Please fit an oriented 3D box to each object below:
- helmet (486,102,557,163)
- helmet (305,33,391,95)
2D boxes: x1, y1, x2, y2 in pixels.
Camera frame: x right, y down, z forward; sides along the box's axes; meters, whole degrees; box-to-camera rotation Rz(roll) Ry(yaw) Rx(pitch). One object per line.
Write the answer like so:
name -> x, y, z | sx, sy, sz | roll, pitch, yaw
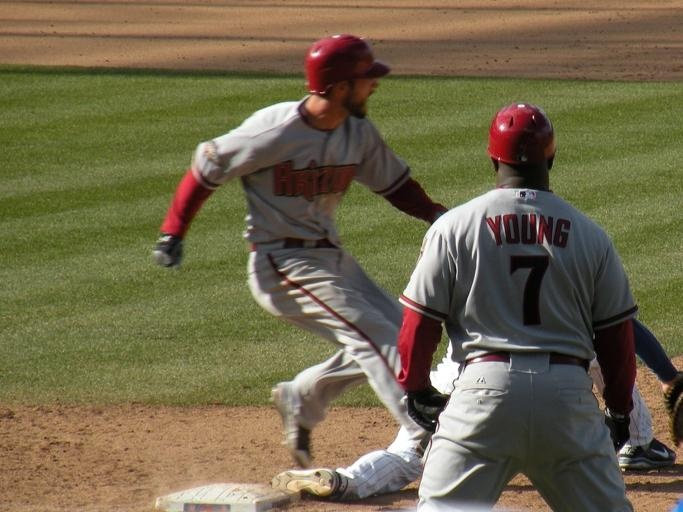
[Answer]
helmet -> 1.363, -0.944, 10.364 | 0.576, 0.459, 0.414 | 7, 26, 14
helmet -> 0.036, -1.565, 11.146 | 0.645, 0.284, 0.430 | -14, 20, -4
